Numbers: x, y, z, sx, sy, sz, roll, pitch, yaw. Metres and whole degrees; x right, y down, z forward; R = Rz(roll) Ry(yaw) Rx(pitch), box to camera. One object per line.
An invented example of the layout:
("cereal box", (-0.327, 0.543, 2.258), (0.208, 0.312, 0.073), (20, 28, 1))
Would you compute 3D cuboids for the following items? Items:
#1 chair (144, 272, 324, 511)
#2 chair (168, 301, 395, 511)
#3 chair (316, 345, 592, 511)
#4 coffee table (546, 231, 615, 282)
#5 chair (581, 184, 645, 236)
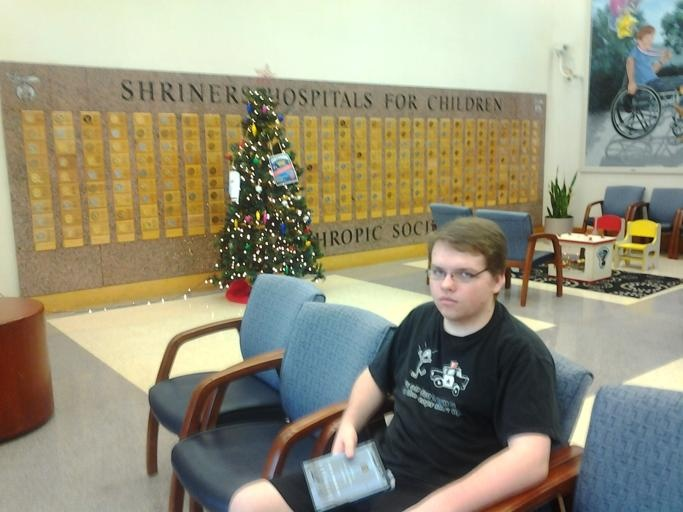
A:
("chair", (-0.639, 0.603, 3.164), (0.963, 1.424, 0.896), (0, 7, -35))
("chair", (-0.301, 0.603, 2.606), (0.982, 1.176, 0.805), (-1, 11, -34))
("chair", (0.384, 0.588, 1.777), (0.463, 0.547, 0.366), (14, 1, -31))
("coffee table", (3.199, 0.005, 7.115), (0.686, 0.702, 0.682), (-7, 8, -36))
("chair", (4.595, -0.771, 9.399), (1.000, 1.237, 0.840), (-5, 9, -37))
